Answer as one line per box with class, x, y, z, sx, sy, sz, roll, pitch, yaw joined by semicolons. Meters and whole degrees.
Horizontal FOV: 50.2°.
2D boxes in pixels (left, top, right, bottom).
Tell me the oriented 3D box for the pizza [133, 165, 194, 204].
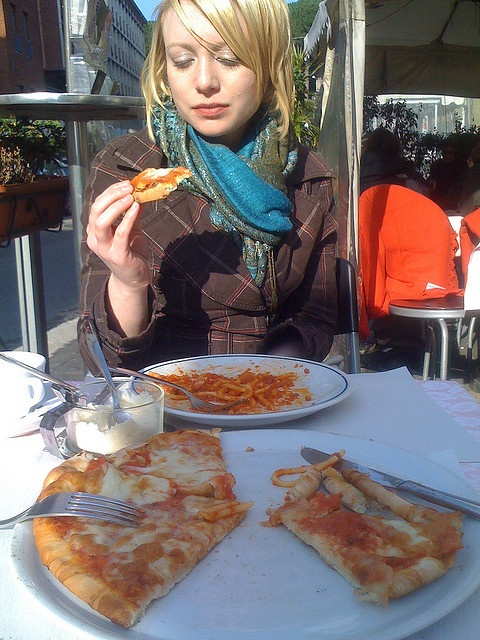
pizza;-0.314;-0.514;1.936;0.235;0.064;0.231;0;40;19
